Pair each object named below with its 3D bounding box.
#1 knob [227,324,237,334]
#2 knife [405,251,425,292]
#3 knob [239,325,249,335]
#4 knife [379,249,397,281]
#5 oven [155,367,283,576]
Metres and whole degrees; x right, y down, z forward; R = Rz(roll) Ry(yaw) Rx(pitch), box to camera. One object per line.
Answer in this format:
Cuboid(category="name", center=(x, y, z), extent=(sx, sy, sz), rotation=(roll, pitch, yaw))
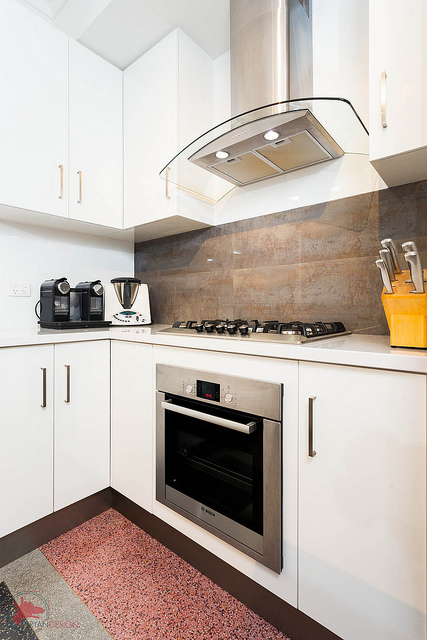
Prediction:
Cuboid(category="knob", center=(0.065, 0.032, 1.613), extent=(0.029, 0.032, 0.021), rotation=(2, -6, -39))
Cuboid(category="knife", center=(0.545, -0.128, 1.249), extent=(0.042, 0.035, 0.138), rotation=(0, -35, 25))
Cuboid(category="knob", center=(0.106, 0.033, 1.599), extent=(0.020, 0.030, 0.028), rotation=(-3, -19, 9))
Cuboid(category="knife", center=(0.499, -0.159, 1.317), extent=(0.022, 0.105, 0.025), rotation=(-3, -6, -8))
Cuboid(category="oven", center=(0.070, 0.430, 1.679), extent=(0.538, 0.603, 0.386), rotation=(8, 16, 32))
